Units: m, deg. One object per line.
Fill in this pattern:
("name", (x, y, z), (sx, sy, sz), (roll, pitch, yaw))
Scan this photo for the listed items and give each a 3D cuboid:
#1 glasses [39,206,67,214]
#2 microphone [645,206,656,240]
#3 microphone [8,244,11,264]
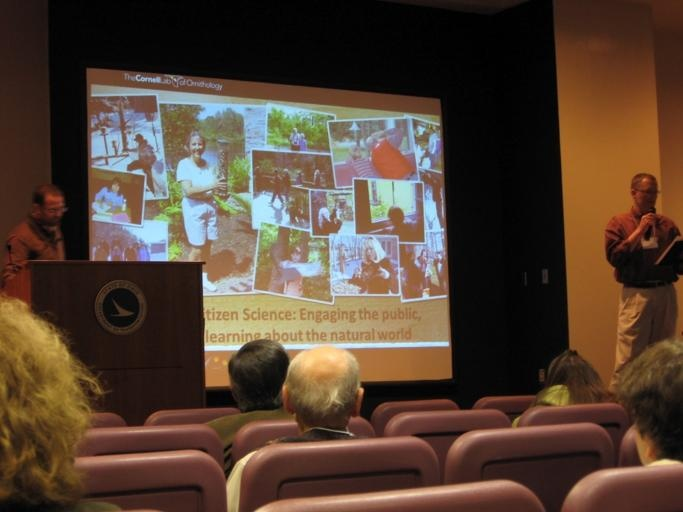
("glasses", (-1.863, -0.289, 3.969), (0.138, 0.057, 0.036), (1, 0, -23))
("microphone", (2.536, -0.269, 5.048), (0.104, 0.204, 0.292), (1, 0, 27))
("microphone", (-2.102, -0.024, 3.871), (0.030, 0.119, 0.106), (1, 0, -29))
